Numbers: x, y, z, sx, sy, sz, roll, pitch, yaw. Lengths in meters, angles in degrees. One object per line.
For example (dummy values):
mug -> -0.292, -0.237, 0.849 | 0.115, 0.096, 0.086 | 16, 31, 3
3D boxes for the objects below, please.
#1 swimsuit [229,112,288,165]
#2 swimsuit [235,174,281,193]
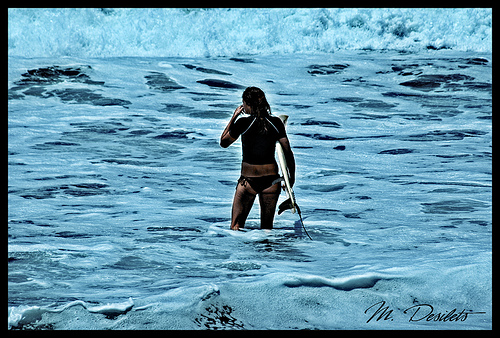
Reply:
swimsuit -> 0.108, -0.562, 11.719 | 1.057, 0.913, 0.276 | 7, -2, 1
swimsuit -> 0.143, 0.262, 11.815 | 0.761, 0.330, 0.173 | 5, -2, 0
